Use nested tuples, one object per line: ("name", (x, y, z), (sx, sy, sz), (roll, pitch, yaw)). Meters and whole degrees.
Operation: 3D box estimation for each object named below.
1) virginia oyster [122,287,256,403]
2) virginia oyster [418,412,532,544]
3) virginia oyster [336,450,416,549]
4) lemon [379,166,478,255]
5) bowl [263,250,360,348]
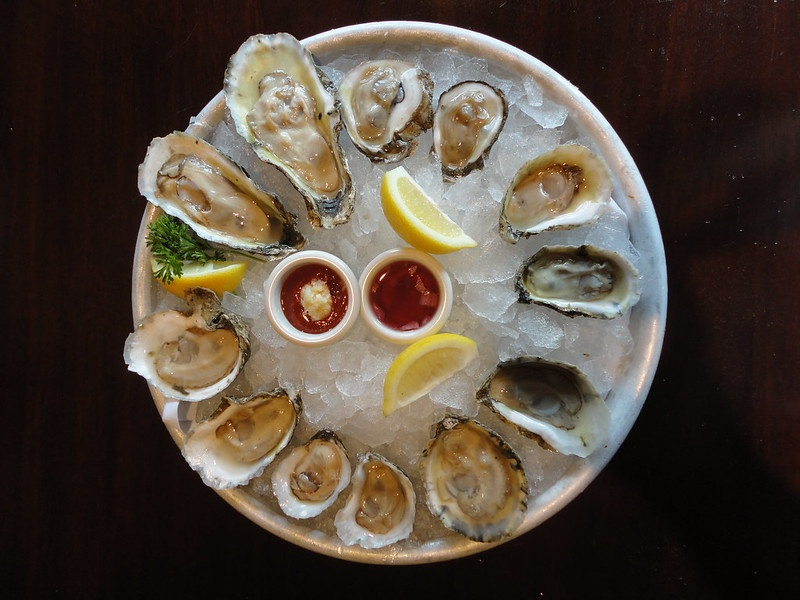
("virginia oyster", (-0.795, 0.189, 3.080), (0.396, 0.138, 0.526), (38, 44, 11))
("virginia oyster", (0.273, 0.672, 3.001), (0.431, 0.082, 0.379), (30, 86, 4))
("virginia oyster", (-0.077, 0.772, 3.002), (0.273, 0.085, 0.340), (25, 86, 4))
("lemon", (0.060, -0.283, 3.028), (0.520, 0.211, 0.192), (32, 67, -39))
("bowl", (-0.323, -0.007, 3.005), (0.355, 0.082, 0.350), (0, 85, 1))
